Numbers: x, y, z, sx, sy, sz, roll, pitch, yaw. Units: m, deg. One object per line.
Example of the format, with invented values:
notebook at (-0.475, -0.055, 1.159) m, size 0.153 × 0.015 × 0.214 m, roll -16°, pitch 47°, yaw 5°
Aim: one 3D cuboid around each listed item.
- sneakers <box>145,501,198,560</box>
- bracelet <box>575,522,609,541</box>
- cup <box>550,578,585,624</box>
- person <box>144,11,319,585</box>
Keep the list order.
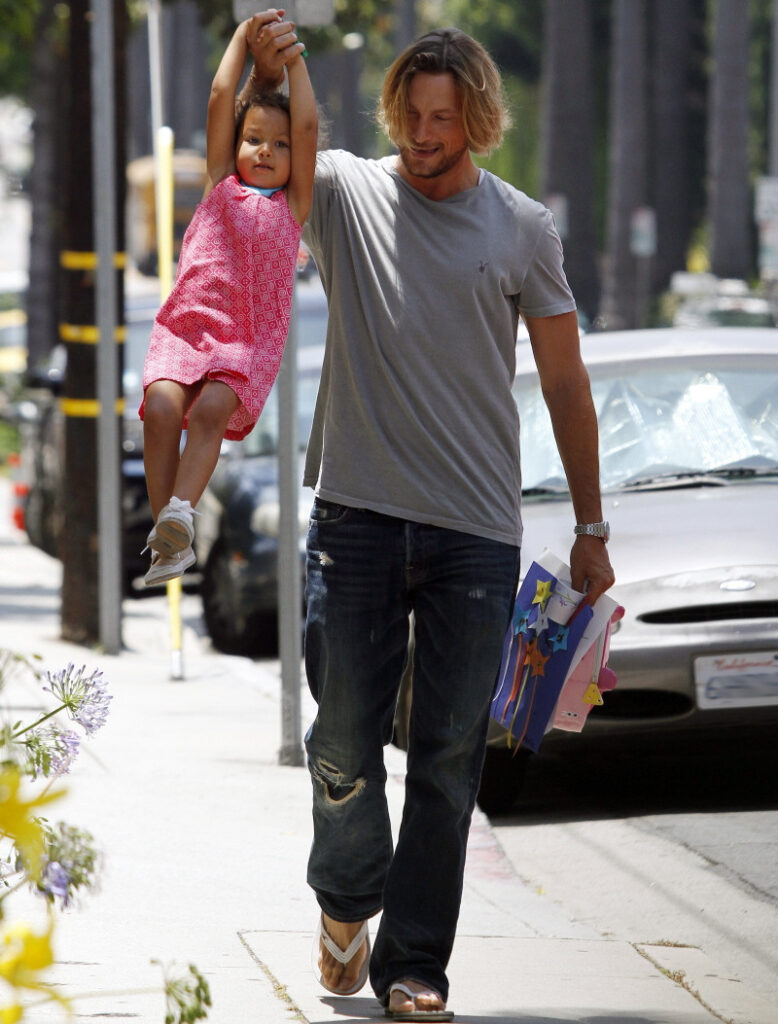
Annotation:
sneakers at (-0.370, 0.031, 3.027) m, size 0.055 × 0.120 × 0.056 m, roll 30°, pitch 48°, yaw 9°
bracelet at (0.418, 0.043, 3.649) m, size 0.061 × 0.035 × 0.059 m, roll -2°, pitch -3°, yaw 14°
cup at (0.368, 0.188, 3.751) m, size 0.071 × 0.080 × 0.076 m, roll 25°, pitch -14°, yaw 7°
person at (-0.297, -0.459, 3.220) m, size 0.242 × 0.935 × 0.455 m, roll 7°, pitch 5°, yaw 17°
